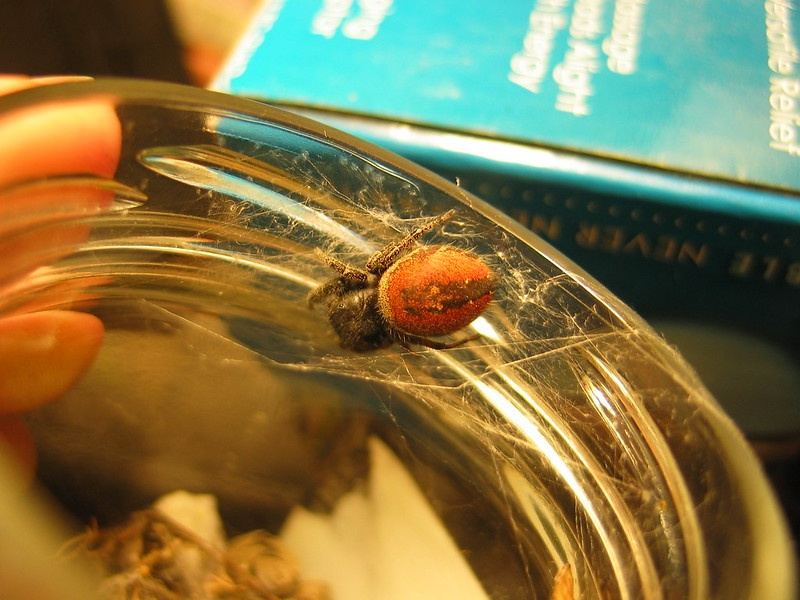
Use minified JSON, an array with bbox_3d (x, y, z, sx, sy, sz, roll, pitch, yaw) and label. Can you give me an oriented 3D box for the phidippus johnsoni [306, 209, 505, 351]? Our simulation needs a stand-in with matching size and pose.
[{"bbox_3d":[-0.004,-0.022,0.859,0.194,0.139,0.163,-13,67,-11],"label":"phidippus johnsoni"}]
